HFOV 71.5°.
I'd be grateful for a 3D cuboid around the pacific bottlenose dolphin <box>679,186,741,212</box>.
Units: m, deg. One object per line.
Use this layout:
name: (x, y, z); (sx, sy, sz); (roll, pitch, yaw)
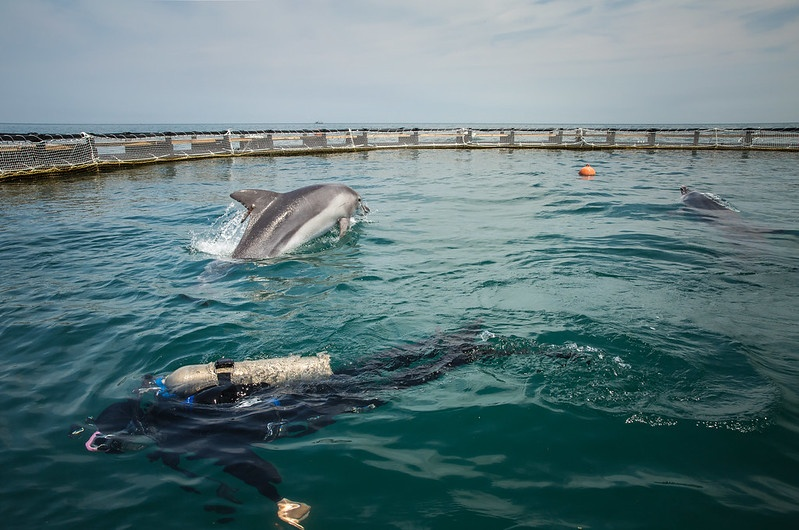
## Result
pacific bottlenose dolphin: (9.360, -1.996, 17.100); (0.761, 0.579, 1.655); (-24, 15, 6)
